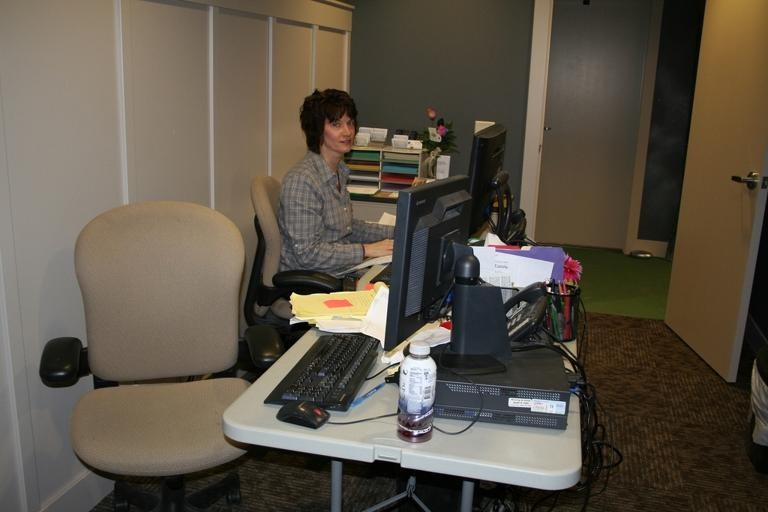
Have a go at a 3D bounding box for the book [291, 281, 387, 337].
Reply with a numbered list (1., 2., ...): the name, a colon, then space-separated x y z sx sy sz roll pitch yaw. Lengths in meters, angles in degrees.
1. book: -0.169 0.228 2.379 0.243 0.078 0.250 1 14 5

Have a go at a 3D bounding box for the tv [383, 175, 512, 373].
1. tv: 0.243 0.083 2.135 0.231 0.617 0.656 12 18 22

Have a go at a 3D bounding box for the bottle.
1. bottle: 0.101 0.428 1.848 0.119 0.306 0.110 0 17 0

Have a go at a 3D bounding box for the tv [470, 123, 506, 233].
1. tv: 0.509 -0.364 2.841 0.086 0.415 0.551 9 23 18

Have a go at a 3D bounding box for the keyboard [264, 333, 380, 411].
1. keyboard: -0.197 0.412 2.079 0.188 0.063 0.339 2 26 19

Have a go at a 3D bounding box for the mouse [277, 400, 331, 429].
1. mouse: -0.260 0.514 1.884 0.133 0.043 0.083 5 17 17
